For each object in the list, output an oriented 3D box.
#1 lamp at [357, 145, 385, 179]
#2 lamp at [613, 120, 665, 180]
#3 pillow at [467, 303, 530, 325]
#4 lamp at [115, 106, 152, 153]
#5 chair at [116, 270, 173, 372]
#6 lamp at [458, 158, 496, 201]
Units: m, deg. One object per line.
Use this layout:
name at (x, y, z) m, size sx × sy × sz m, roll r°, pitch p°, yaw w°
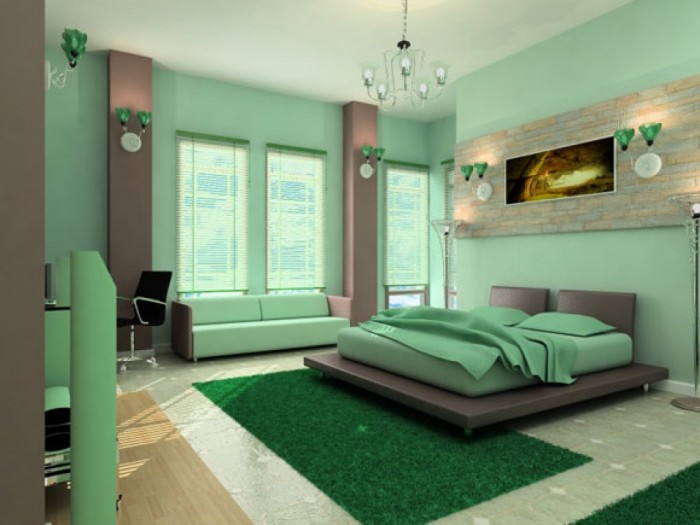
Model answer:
lamp at (0.294, -1.461, 7.504) m, size 0.348 × 0.484 × 0.217 m, roll -3°, pitch 5°, yaw -28°
lamp at (2.619, -1.015, 4.710) m, size 0.184 × 0.487 × 0.433 m, roll -3°, pitch 5°, yaw -33°
pillow at (1.608, 0.539, 5.316) m, size 0.380 × 0.107 × 0.379 m, roll 1°, pitch -1°, yaw -29°
lamp at (-2.454, -1.517, 5.890) m, size 0.416 × 0.528 × 0.285 m, roll -4°, pitch 6°, yaw -38°
chair at (-2.280, 0.594, 5.727) m, size 0.597 × 0.993 × 0.804 m, roll -2°, pitch 5°, yaw -23°
lamp at (1.572, -0.968, 6.270) m, size 0.263 × 0.486 × 0.429 m, roll 8°, pitch -4°, yaw -23°
